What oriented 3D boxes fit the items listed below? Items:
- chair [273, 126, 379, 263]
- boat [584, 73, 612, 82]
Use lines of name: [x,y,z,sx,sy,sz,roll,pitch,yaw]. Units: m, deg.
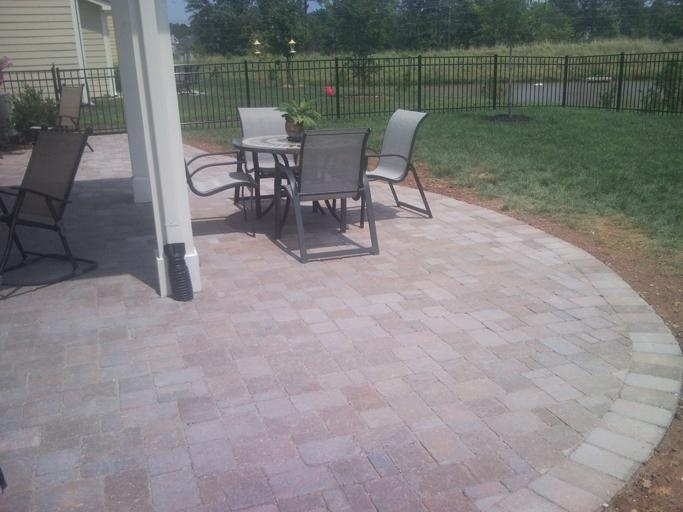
chair: [-0.097,-0.658,5.364,0.886,1.264,0.672,-5,21,-12]
boat: [10.930,-7.442,22.086,0.669,0.397,11.177,8,21,24]
